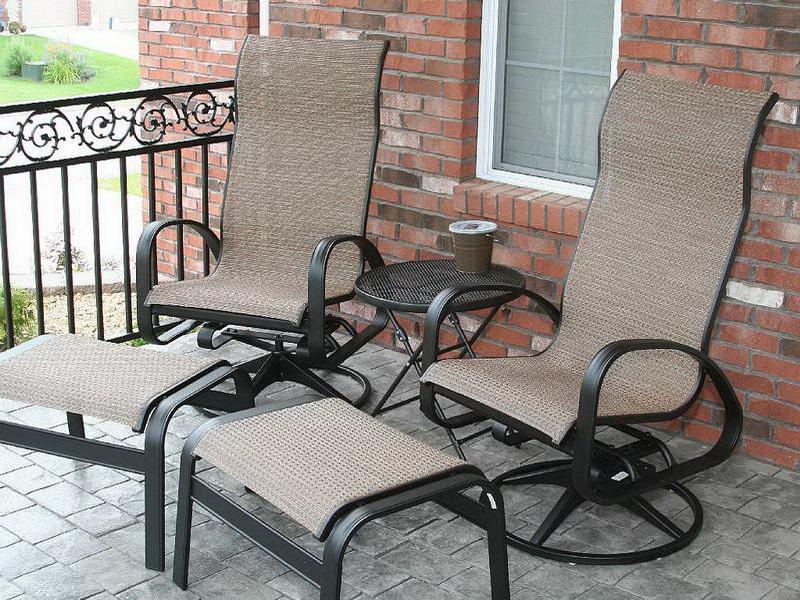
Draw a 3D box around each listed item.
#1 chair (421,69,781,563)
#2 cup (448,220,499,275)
[{"bbox_3d":[0.751,-0.004,2.518,1.102,1.679,1.095,-10,25,-33],"label":"chair"},{"bbox_3d":[0.332,-0.250,3.143,0.259,0.146,0.199,-8,22,-15],"label":"cup"}]
